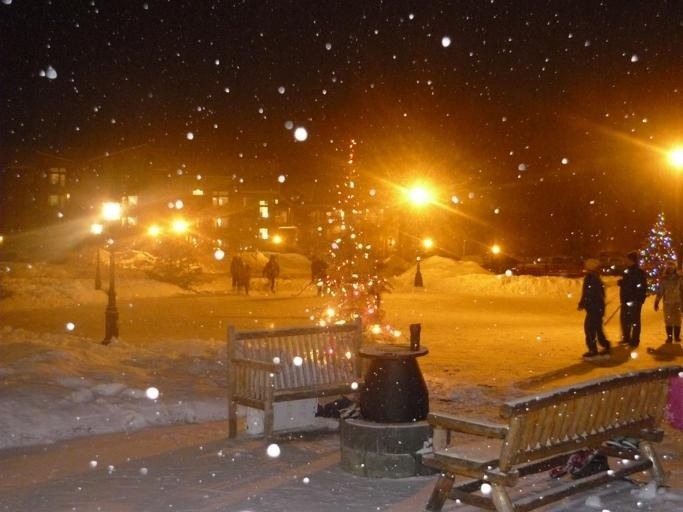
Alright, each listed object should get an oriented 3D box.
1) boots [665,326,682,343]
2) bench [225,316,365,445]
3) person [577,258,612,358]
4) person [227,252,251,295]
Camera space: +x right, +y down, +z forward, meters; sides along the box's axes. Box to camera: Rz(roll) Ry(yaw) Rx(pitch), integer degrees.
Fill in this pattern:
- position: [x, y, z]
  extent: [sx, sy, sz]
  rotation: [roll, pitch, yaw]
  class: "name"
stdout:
- position: [9.092, 2.149, 17.591]
  extent: [0.489, 0.610, 0.487]
  rotation: [-3, -6, 20]
  class: "boots"
- position: [-0.335, 1.780, 9.495]
  extent: [1.017, 1.633, 2.612]
  rotation: [-4, -5, 43]
  class: "bench"
- position: [6.011, 1.231, 15.277]
  extent: [0.712, 2.279, 0.478]
  rotation: [4, -6, -39]
  class: "person"
- position: [-5.518, 1.045, 36.457]
  extent: [1.353, 2.444, 0.909]
  rotation: [4, 6, 44]
  class: "person"
